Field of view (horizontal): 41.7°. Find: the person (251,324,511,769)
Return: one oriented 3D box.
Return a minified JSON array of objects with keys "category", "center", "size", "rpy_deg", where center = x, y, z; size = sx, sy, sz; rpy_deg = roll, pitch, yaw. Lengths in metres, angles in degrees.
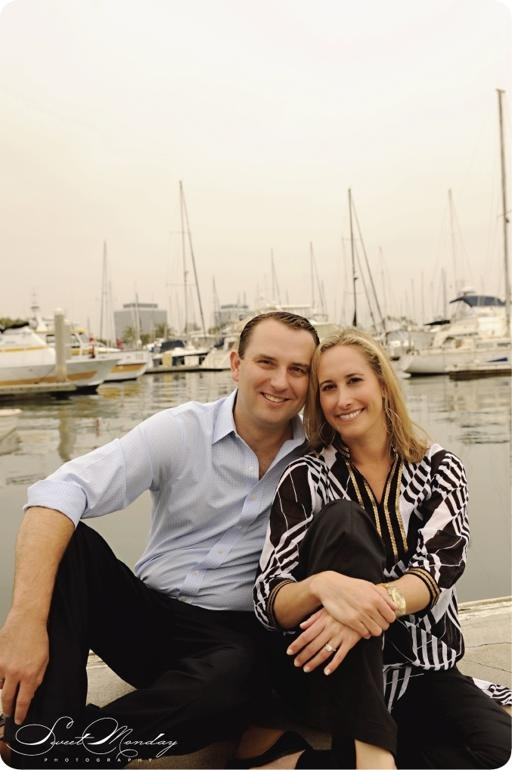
[{"category":"person","center":[0.369,0.508,2.191],"size":[0.777,1.275,0.588],"rpy_deg":[-4,1,-2]}]

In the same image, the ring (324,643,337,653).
[{"category":"ring","center":[0.219,0.775,1.997],"size":[0.021,0.025,0.010],"rpy_deg":[-17,-18,30]}]

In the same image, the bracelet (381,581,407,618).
[{"category":"bracelet","center":[0.431,0.651,2.049],"size":[0.025,0.083,0.089],"rpy_deg":[-20,-22,-7]}]
